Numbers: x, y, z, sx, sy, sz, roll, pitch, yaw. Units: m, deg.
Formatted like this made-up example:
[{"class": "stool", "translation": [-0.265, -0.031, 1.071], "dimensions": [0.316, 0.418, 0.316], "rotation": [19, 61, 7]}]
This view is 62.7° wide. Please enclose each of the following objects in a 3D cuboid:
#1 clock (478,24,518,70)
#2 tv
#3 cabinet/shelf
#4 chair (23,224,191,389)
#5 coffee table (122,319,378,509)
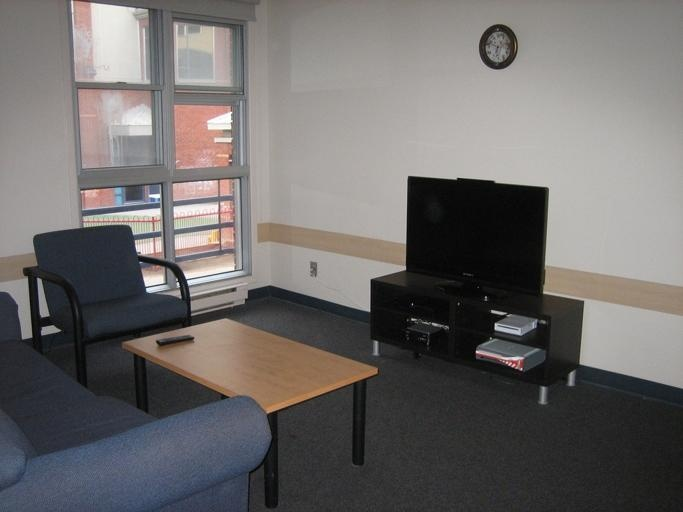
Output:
[{"class": "clock", "translation": [1.228, -1.644, 4.426], "dimensions": [0.031, 0.335, 0.326], "rotation": [-20, 24, -39]}, {"class": "tv", "translation": [1.076, -0.137, 4.299], "dimensions": [0.932, 0.672, 0.098], "rotation": [9, 16, 40]}, {"class": "cabinet/shelf", "translation": [0.997, 0.583, 4.508], "dimensions": [1.510, 0.665, 0.557], "rotation": [9, 16, 37]}, {"class": "chair", "translation": [-1.808, 0.379, 4.407], "dimensions": [0.988, 1.093, 0.981], "rotation": [-8, 14, -41]}, {"class": "coffee table", "translation": [-0.465, 0.631, 3.423], "dimensions": [1.492, 0.674, 0.833], "rotation": [13, 19, 42]}]
